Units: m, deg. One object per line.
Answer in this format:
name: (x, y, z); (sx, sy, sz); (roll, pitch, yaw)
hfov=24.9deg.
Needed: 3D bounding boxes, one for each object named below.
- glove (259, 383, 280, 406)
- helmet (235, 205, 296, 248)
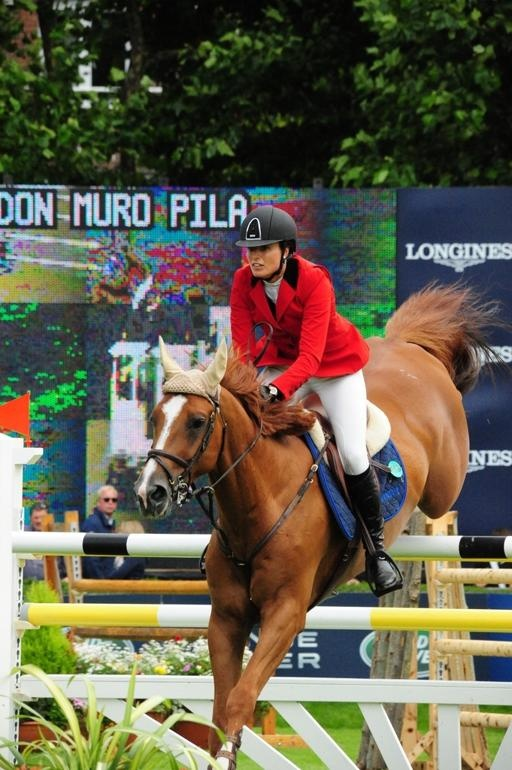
glove: (0.050, 0.035, 4.281); (0.039, 0.074, 0.059); (-38, 36, -29)
helmet: (0.037, -0.591, 4.375); (0.149, 0.109, 0.205); (3, 2, 39)
